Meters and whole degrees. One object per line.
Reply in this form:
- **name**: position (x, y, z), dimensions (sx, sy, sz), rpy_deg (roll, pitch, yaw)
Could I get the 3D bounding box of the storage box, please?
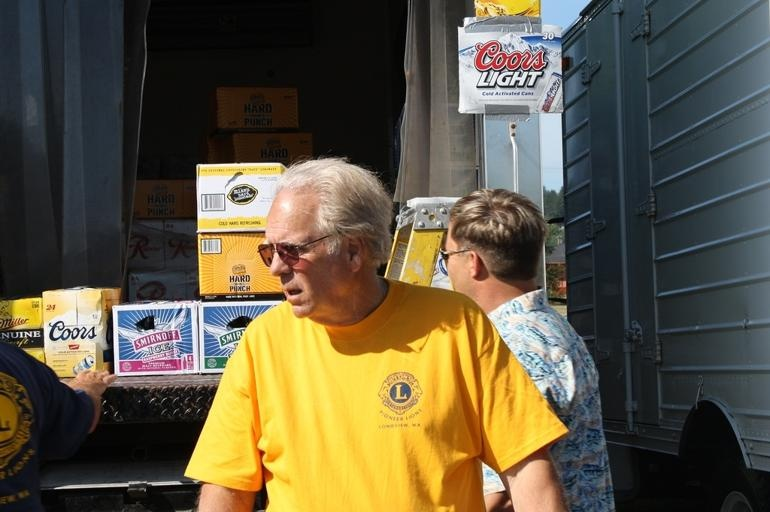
- **storage box**: position (-1.391, -0.399, 5.753), dimensions (2.282, 1.511, 1.333), rpy_deg (-1, -4, 1)
